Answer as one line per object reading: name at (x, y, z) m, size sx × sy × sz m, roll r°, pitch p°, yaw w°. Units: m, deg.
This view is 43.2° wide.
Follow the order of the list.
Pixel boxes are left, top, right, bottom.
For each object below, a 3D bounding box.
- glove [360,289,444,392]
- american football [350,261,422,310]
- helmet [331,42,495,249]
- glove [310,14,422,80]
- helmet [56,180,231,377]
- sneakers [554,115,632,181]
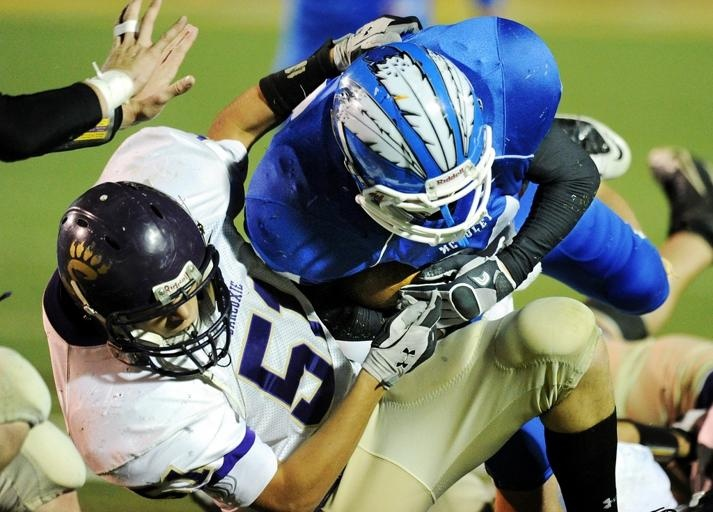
glove at (0.179, 0.310, 3.288) m, size 0.094 × 0.272 × 0.358 m, roll 31°, pitch 70°, yaw 24°
american football at (0.091, 0.112, 3.404) m, size 0.148 × 0.205 × 0.078 m, roll -5°, pitch 50°, yaw -6°
helmet at (0.190, -0.367, 3.288) m, size 0.505 × 0.365 × 0.707 m, roll -28°, pitch 77°, yaw -6°
glove at (0.042, -0.819, 3.410) m, size 0.296 × 0.090 × 0.251 m, roll -24°, pitch 18°, yaw -1°
helmet at (-0.755, 0.050, 3.191) m, size 0.657 × 0.569 × 0.497 m, roll 18°, pitch 47°, yaw 18°
sneakers at (1.039, -0.487, 3.927) m, size 0.244 × 0.199 × 0.456 m, roll -20°, pitch 16°, yaw -22°
